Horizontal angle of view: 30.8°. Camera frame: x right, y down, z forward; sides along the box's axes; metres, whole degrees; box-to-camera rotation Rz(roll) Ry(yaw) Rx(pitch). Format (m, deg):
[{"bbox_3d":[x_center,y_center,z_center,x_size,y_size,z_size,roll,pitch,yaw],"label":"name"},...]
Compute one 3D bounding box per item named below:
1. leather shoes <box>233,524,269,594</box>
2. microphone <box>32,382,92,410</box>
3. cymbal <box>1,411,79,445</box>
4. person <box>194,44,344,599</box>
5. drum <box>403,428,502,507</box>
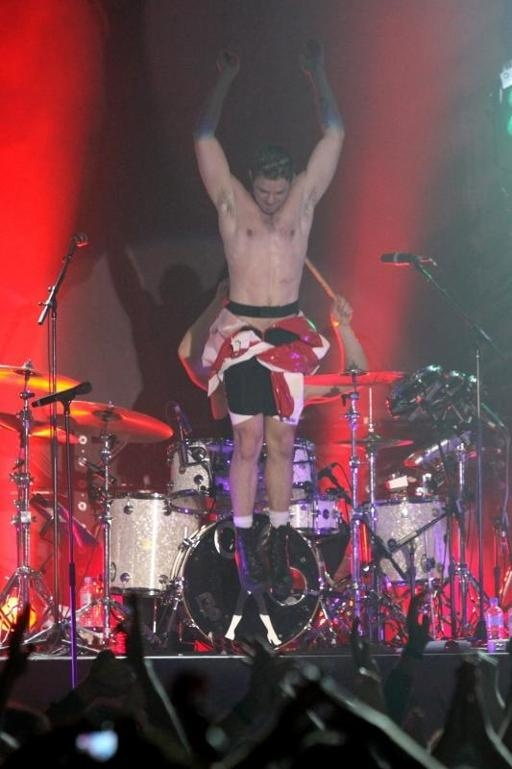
[{"bbox_3d":[-0.011,0.750,3.999,0.123,0.225,0.346,-8,18,-10],"label":"leather shoes"},{"bbox_3d":[-0.868,0.050,4.115,0.331,0.103,0.087,-14,-3,30],"label":"microphone"},{"bbox_3d":[-1.186,0.235,5.019,0.345,0.058,0.358,13,-3,-11],"label":"cymbal"},{"bbox_3d":[0.027,-0.295,3.973,0.679,2.266,0.517,-3,13,-17],"label":"person"},{"bbox_3d":[1.040,0.430,5.003,0.369,0.150,0.454,-26,-20,27],"label":"drum"}]
